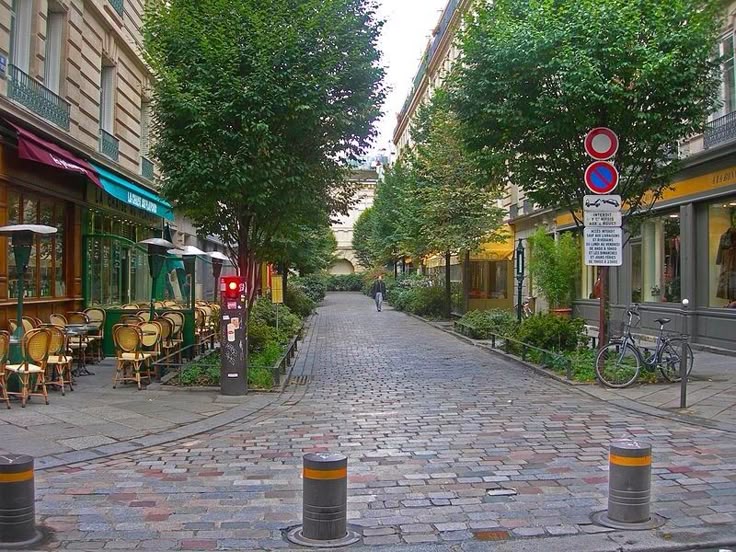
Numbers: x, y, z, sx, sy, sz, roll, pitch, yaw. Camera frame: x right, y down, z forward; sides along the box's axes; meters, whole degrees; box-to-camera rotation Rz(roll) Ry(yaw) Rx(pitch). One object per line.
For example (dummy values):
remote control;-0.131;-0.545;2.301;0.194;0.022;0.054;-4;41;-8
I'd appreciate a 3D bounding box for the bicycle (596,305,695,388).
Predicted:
bicycle;5.345;1.324;13.192;2.289;1.522;1.114;-1;2;-22

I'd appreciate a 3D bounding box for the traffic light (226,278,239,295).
traffic light;-2.419;0.173;12.260;0.250;0.364;0.183;-1;8;-2
